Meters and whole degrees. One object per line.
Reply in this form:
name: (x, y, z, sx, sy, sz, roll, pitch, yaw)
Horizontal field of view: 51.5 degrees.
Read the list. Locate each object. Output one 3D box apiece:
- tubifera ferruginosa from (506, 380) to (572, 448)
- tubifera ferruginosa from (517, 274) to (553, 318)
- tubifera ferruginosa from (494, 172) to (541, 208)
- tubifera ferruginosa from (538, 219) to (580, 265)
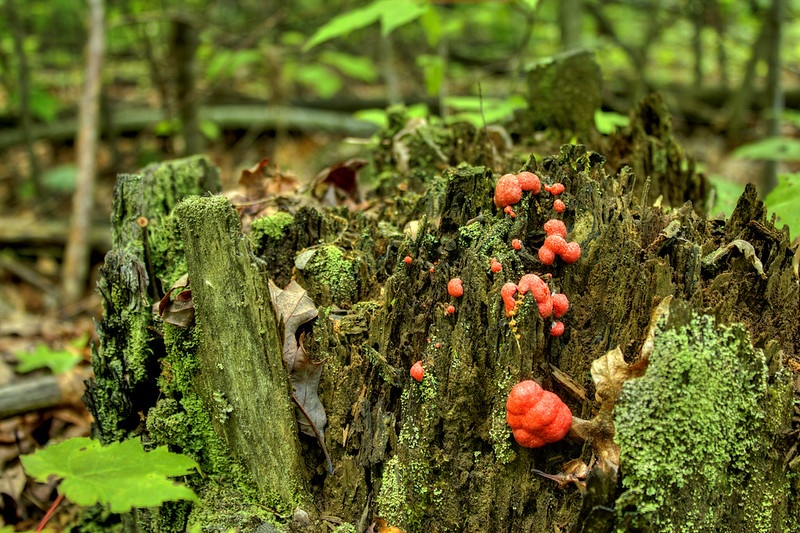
tubifera ferruginosa: (1.039, 1.129, 6.203, 0.494, 0.504, 0.201, 3, 17, 10)
tubifera ferruginosa: (1.042, 0.202, 6.242, 0.143, 0.324, 0.266, -22, 36, 19)
tubifera ferruginosa: (0.902, -0.608, 6.446, 0.312, 0.152, 0.237, -14, -8, -7)
tubifera ferruginosa: (1.211, -0.168, 6.304, 0.316, 0.326, 0.126, 9, -19, 6)
